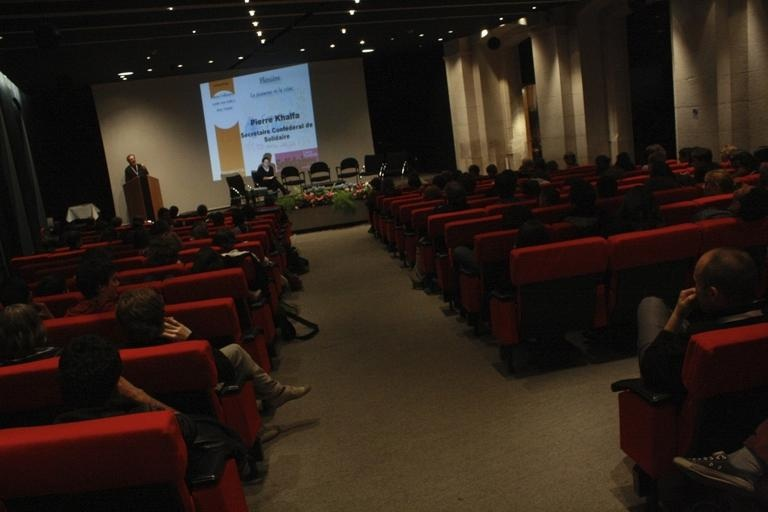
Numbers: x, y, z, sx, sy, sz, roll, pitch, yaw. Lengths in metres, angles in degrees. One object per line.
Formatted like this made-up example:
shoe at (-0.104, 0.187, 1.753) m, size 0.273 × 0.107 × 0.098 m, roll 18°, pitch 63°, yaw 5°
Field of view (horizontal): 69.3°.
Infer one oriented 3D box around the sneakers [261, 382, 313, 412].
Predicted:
sneakers at (-0.822, 1.171, 4.841) m, size 0.486 × 0.186 × 0.161 m, roll -17°, pitch 20°, yaw -32°

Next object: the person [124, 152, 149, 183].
person at (-6.092, -2.166, 13.613) m, size 0.443 × 0.613 × 1.080 m, roll -15°, pitch 14°, yaw -27°

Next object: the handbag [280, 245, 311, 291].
handbag at (-1.365, 0.144, 8.668) m, size 0.266 × 0.377 × 0.873 m, roll -9°, pitch -20°, yaw -5°

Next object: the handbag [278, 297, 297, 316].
handbag at (-1.142, 0.633, 6.872) m, size 0.199 × 0.072 × 0.204 m, roll 11°, pitch 9°, yaw 7°

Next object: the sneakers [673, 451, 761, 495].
sneakers at (1.698, 1.094, 2.879) m, size 0.393 × 0.138 × 0.194 m, roll 9°, pitch 57°, yaw 29°

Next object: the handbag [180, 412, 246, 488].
handbag at (-1.019, 1.109, 3.296) m, size 0.306 × 0.439 × 0.407 m, roll -14°, pitch -9°, yaw -30°
